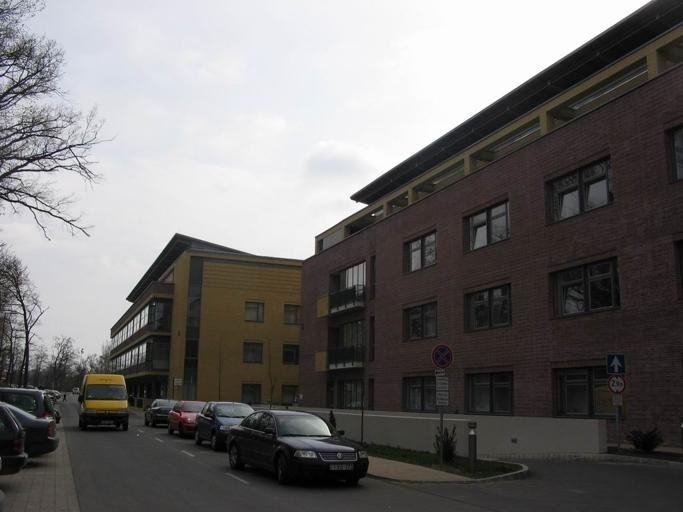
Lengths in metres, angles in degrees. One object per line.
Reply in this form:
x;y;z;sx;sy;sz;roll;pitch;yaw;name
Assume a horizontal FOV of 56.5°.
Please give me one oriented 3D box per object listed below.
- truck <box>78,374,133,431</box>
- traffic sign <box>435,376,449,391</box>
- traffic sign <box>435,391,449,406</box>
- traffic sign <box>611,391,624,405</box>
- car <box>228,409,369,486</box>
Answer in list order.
-12.233;7.486;32.548;1.703;2.045;3.704;3;-15;-20;truck
2.937;3.695;18.658;0.307;0.464;0.515;0;-21;7;traffic sign
2.946;4.128;18.623;0.315;0.434;0.440;2;-21;3;traffic sign
9.080;4.676;20.852;0.270;0.435;0.371;-3;-21;16;traffic sign
-1.310;5.057;16.980;1.817;2.003;3.875;20;-27;-38;car
